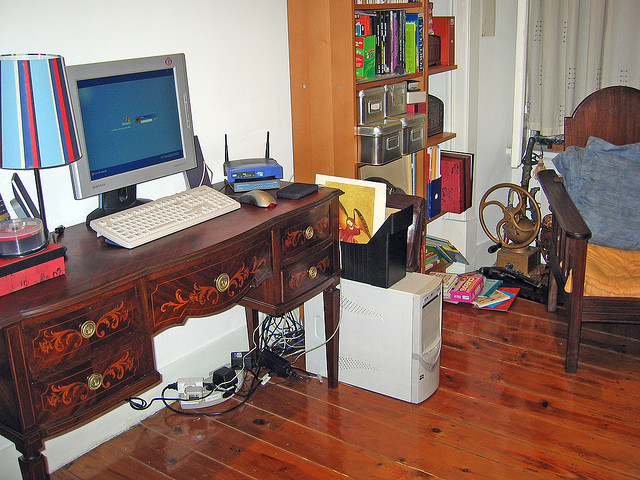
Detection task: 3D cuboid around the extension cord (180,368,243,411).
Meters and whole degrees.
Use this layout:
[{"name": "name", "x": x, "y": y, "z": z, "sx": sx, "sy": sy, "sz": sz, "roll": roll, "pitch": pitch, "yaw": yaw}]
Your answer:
[{"name": "extension cord", "x": -0.519, "y": 0.666, "z": 2.507, "sx": 0.152, "sy": 0.095, "sz": 0.254, "roll": 23, "pitch": 35, "yaw": 31}]

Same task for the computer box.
[{"name": "computer box", "x": 0.306, "y": 0.377, "z": 2.734, "sx": 0.760, "sy": 0.717, "sz": 0.408, "roll": 6, "pitch": 16, "yaw": 23}]

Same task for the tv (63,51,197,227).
[{"name": "tv", "x": -0.709, "y": -0.417, "z": 1.985, "sx": 0.071, "sy": 0.603, "sz": 0.572, "roll": 16, "pitch": 30, "yaw": 32}]

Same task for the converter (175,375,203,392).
[{"name": "converter", "x": -0.610, "y": 0.661, "z": 2.490, "sx": 0.090, "sy": 0.036, "sz": 0.069, "roll": -1, "pitch": 10, "yaw": 1}]

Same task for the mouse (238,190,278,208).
[{"name": "mouse", "x": -0.261, "y": -0.180, "z": 2.157, "sx": 0.114, "sy": 0.041, "sz": 0.070, "roll": 13, "pitch": 22, "yaw": 28}]

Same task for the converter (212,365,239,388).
[{"name": "converter", "x": -0.455, "y": 0.646, "z": 2.538, "sx": 0.076, "sy": 0.072, "sz": 0.104, "roll": -3, "pitch": 11, "yaw": 23}]

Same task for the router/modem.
[{"name": "router/modem", "x": -0.321, "y": -0.371, "z": 2.415, "sx": 0.245, "sy": 0.165, "sz": 0.313, "roll": -10, "pitch": 22, "yaw": -9}]

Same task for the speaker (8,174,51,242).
[{"name": "speaker", "x": -0.991, "y": -0.110, "z": 1.806, "sx": 0.073, "sy": 0.217, "sz": 0.152, "roll": 6, "pitch": 31, "yaw": -2}]

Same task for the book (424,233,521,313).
[{"name": "book", "x": 0.925, "y": 0.146, "z": 3.336, "sx": 0.534, "sy": 0.190, "sz": 0.394, "roll": 15, "pitch": 28, "yaw": 27}]

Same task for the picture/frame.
[{"name": "picture/frame", "x": 0.149, "y": -0.137, "z": 2.436, "sx": 0.305, "sy": 0.325, "sz": 0.216, "roll": 17, "pitch": 25, "yaw": 31}]

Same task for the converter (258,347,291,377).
[{"name": "converter", "x": -0.239, "y": 0.619, "z": 2.713, "sx": 0.148, "sy": 0.081, "sz": 0.043, "roll": 32, "pitch": 36, "yaw": 28}]
